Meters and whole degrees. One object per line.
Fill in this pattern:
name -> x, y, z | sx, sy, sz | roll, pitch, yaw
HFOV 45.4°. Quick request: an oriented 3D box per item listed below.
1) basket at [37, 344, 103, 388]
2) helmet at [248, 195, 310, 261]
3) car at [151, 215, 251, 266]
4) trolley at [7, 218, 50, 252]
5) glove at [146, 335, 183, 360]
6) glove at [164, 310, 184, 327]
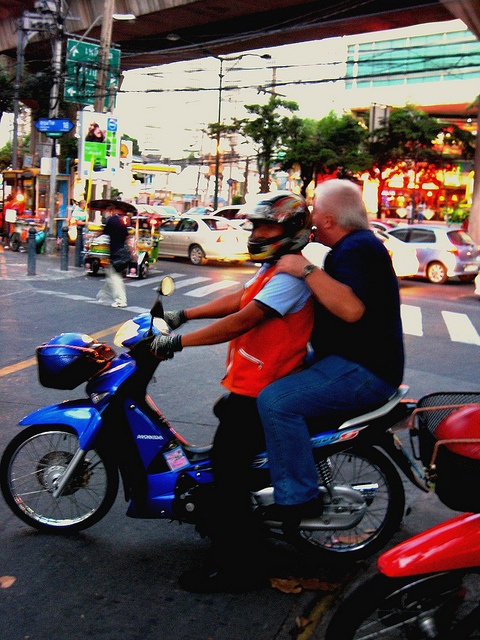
basket -> -0.818, 0.223, 2.791 | 0.280, 0.156, 0.207 | 6, 0, -14
helmet -> 0.182, -0.397, 2.442 | 0.330, 0.254, 0.237 | -6, 12, -29
car -> -1.458, -2.711, 20.375 | 2.193, 1.377, 4.749 | -9, 17, -43
trolley -> -8.444, -3.377, 22.929 | 1.039, 1.390, 3.351 | -2, 9, -30
glove -> -0.311, 0.118, 2.425 | 0.103, 0.062, 0.122 | 3, -33, -1
glove -> -0.299, 0.000, 2.670 | 0.093, 0.069, 0.037 | 35, -13, 7
